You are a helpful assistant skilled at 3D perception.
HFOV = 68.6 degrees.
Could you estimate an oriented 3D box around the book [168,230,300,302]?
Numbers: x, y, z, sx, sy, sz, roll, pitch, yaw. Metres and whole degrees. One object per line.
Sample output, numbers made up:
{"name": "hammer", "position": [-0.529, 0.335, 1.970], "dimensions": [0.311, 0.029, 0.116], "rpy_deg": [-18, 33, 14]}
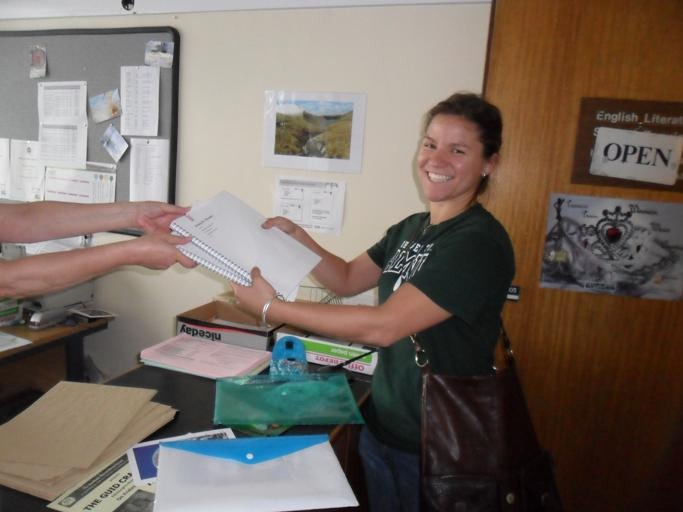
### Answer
{"name": "book", "position": [-0.341, 0.041, 1.503], "dimensions": [0.263, 0.080, 0.210], "rpy_deg": [34, 4, -34]}

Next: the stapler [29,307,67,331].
{"name": "stapler", "position": [-1.335, 0.286, 2.253], "dimensions": [0.053, 0.071, 0.184], "rpy_deg": [3, 4, 18]}
